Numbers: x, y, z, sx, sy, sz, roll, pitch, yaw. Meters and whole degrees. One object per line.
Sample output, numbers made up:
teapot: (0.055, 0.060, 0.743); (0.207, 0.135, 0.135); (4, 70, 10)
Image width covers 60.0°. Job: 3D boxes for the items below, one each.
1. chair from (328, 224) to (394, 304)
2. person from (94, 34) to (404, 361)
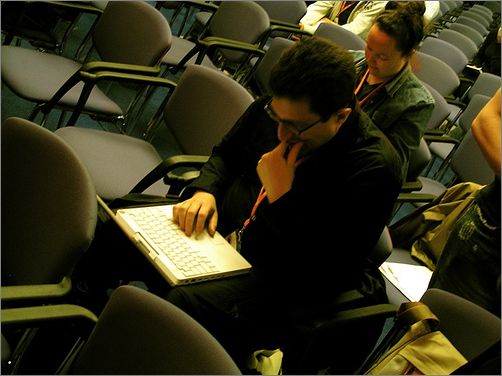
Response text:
chair: (0.396, 0.280, 1.604); (0.198, 0.234, 0.195); (57, -2, 35)
person: (-0.015, 0.119, 1.695); (0.825, 1.320, 0.992); (32, 28, 34)
